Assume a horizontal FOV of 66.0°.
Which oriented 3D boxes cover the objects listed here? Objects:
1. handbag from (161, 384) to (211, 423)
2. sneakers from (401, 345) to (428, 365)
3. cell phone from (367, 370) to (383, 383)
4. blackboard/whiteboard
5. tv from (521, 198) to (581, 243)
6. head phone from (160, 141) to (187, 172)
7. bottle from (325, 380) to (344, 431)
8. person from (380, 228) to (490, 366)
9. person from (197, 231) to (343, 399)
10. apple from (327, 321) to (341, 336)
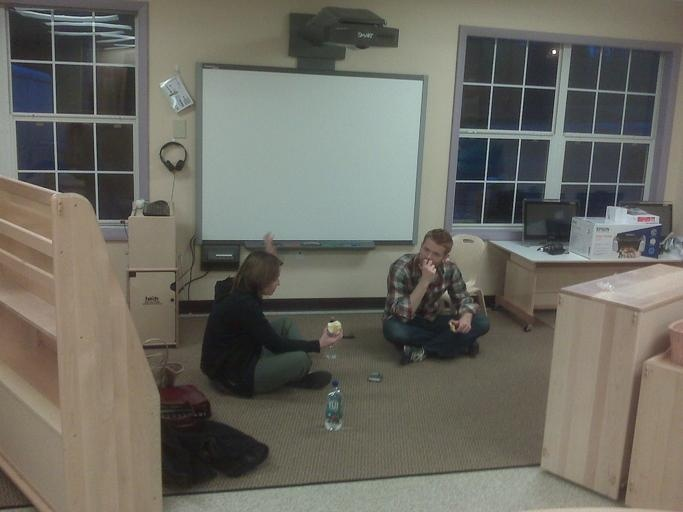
[{"bbox_3d":[-0.903,0.853,3.012,0.223,0.073,0.229,2,9,-24],"label":"handbag"},{"bbox_3d":[0.569,0.761,4.135,0.084,0.108,0.257,8,14,40],"label":"sneakers"},{"bbox_3d":[0.242,0.875,3.833,0.109,0.029,0.132,3,15,5],"label":"cell phone"},{"bbox_3d":[-0.363,-0.971,4.823,1.608,1.274,0.055,0,8,-11],"label":"blackboard/whiteboard"},{"bbox_3d":[2.059,-0.347,5.221,0.560,0.404,0.076,-1,14,-10],"label":"tv"},{"bbox_3d":[-1.499,-0.873,4.691,0.213,0.290,0.098,-7,-7,-7],"label":"head phone"},{"bbox_3d":[-0.051,0.922,3.279,0.120,0.224,0.245,1,14,-1],"label":"bottle"},{"bbox_3d":[0.701,0.234,4.528,0.941,1.223,0.972,-2,6,-12],"label":"person"},{"bbox_3d":[-0.507,0.415,3.730,0.881,1.099,0.796,2,9,-7],"label":"person"},{"bbox_3d":[-0.053,0.498,3.650,0.088,0.093,0.091,4,-16,-12],"label":"apple"}]
